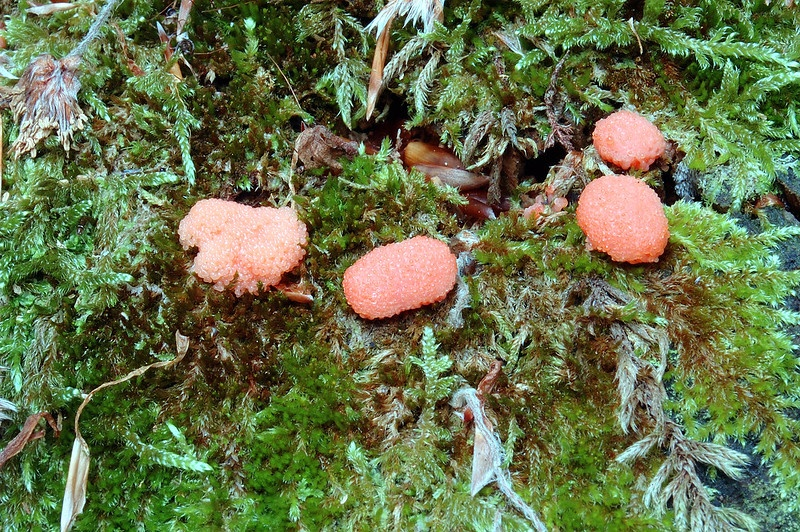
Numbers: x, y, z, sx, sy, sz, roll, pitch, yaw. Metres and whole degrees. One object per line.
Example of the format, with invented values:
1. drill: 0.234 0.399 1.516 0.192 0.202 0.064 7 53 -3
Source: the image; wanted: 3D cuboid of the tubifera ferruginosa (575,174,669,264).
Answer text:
1. tubifera ferruginosa: 1.187 -0.258 3.493 0.436 0.150 0.476 -5 83 0
